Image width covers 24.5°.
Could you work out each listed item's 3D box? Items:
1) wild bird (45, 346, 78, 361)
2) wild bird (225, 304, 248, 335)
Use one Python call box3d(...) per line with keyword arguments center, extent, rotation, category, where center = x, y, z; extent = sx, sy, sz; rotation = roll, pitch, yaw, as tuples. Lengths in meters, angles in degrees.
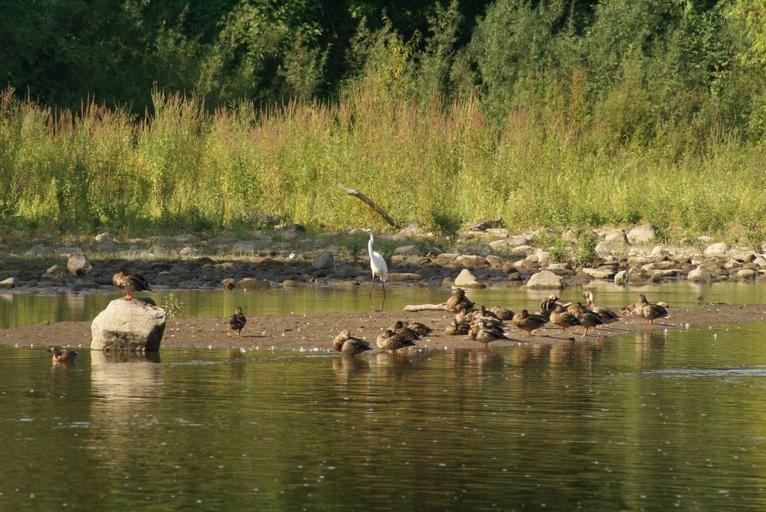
box3d(center=(-7.097, 2.229, 38.994), extent=(0.542, 0.333, 0.353), rotation=(9, -7, 17), category="wild bird")
box3d(center=(-3.385, 1.500, 41.398), extent=(0.461, 0.635, 1.164), rotation=(1, 8, -4), category="wild bird")
